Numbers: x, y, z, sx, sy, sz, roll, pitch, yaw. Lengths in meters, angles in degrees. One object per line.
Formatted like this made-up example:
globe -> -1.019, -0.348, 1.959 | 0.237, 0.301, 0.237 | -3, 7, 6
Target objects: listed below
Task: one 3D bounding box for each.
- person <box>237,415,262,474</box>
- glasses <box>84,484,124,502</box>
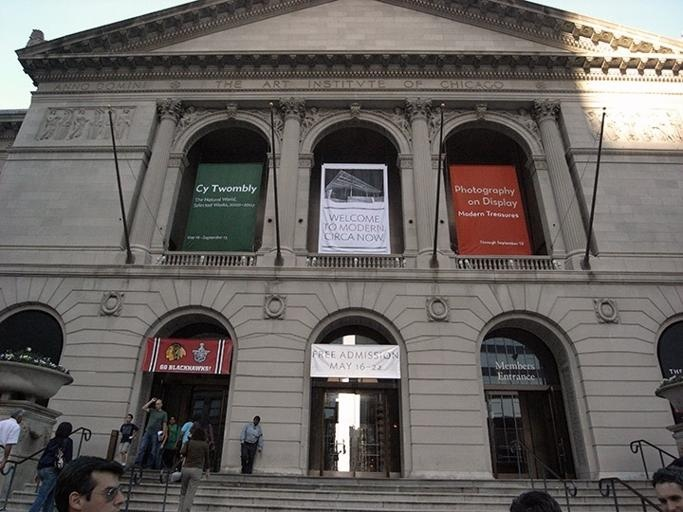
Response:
person -> -3.221, 6.875, 17.501 | 0.533, 1.960, 0.889 | -16, -32, 31
glasses -> -2.096, 2.174, 4.404 | 0.174, 0.057, 0.176 | -16, -26, 2
